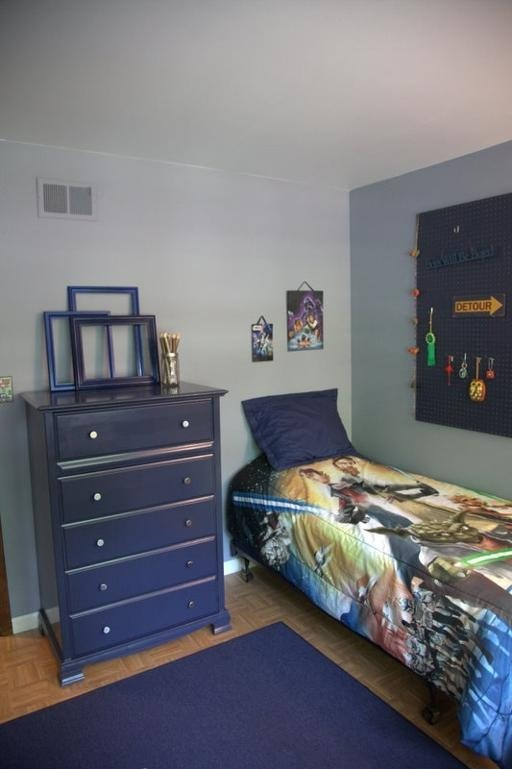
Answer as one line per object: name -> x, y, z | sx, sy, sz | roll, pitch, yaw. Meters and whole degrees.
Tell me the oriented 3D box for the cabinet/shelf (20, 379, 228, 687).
cabinet/shelf -> -0.588, 0.621, 2.553 | 0.850, 1.100, 0.641 | -7, 8, -39
